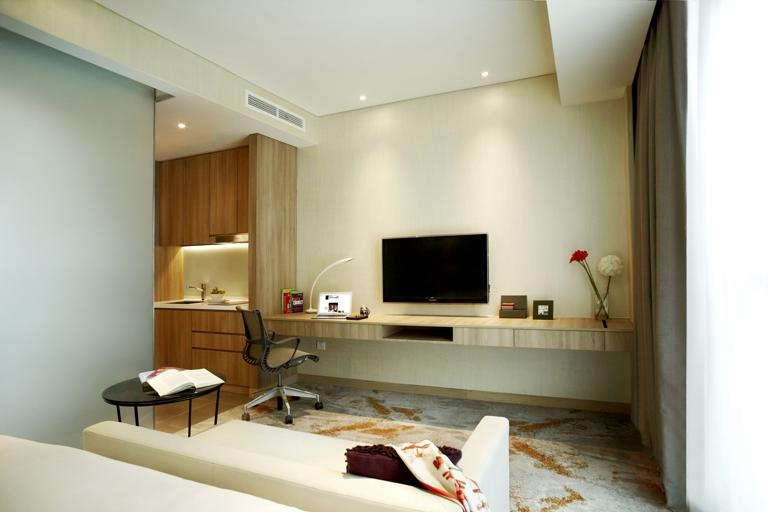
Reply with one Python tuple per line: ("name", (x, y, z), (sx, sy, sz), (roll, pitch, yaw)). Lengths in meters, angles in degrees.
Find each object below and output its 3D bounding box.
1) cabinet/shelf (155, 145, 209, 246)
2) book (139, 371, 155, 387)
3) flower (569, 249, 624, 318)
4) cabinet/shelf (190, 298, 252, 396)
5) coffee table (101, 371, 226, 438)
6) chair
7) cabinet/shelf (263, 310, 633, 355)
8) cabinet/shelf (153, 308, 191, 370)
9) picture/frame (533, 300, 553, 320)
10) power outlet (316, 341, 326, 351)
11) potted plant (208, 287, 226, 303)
("cabinet/shelf", (-2.511, -0.670, 6.373), (0.963, 1.086, 0.269), (4, 15, 27))
("book", (-1.710, 0.891, 3.676), (0.098, 0.029, 0.097), (0, 3, -21))
("flower", (2.063, 0.247, 4.887), (0.425, 0.681, 0.496), (-21, 27, -17))
("cabinet/shelf", (-1.816, 0.987, 5.939), (0.685, 0.944, 0.494), (5, 16, 7))
("coffee table", (-1.666, 1.140, 3.687), (0.786, 0.380, 0.697), (1, -1, 43))
("chair", (-1.100, 1.052, 5.112), (0.734, 1.050, 0.875), (-2, 0, -35))
("cabinet/shelf", (0.629, 0.751, 5.003), (3.258, 0.417, 0.462), (2, 13, 19))
("cabinet/shelf", (-2.504, 0.998, 5.954), (0.618, 0.721, 0.242), (3, 14, 24))
("picture/frame", (1.520, 0.532, 4.886), (0.170, 0.167, 0.016), (-5, -11, 24))
("power outlet", (-0.736, 1.051, 5.918), (0.116, 0.100, 0.016), (0, -5, 20))
("potted plant", (-2.046, 0.476, 6.269), (0.212, 0.165, 0.211), (1, 1, 17))
